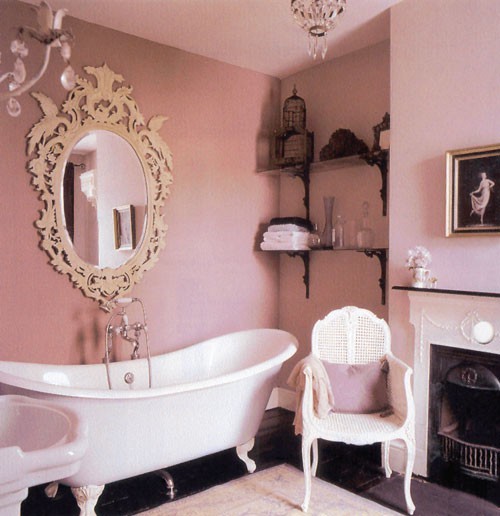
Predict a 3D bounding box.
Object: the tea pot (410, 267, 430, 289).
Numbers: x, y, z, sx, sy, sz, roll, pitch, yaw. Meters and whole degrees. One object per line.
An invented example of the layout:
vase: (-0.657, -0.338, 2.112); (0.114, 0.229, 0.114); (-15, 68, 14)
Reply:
tea pot: (0.957, 0.100, 2.751); (0.094, 0.117, 0.141); (0, 2, 20)

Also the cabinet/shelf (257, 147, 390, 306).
cabinet/shelf: (0.556, -0.250, 3.592); (1.037, 1.020, 0.315); (-5, -9, 43)

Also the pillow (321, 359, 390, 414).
pillow: (0.579, 0.709, 2.683); (0.261, 0.220, 0.042); (1, -36, 2)

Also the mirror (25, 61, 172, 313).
mirror: (-0.901, -0.463, 3.091); (0.937, 1.485, 0.068); (-3, 3, -41)
